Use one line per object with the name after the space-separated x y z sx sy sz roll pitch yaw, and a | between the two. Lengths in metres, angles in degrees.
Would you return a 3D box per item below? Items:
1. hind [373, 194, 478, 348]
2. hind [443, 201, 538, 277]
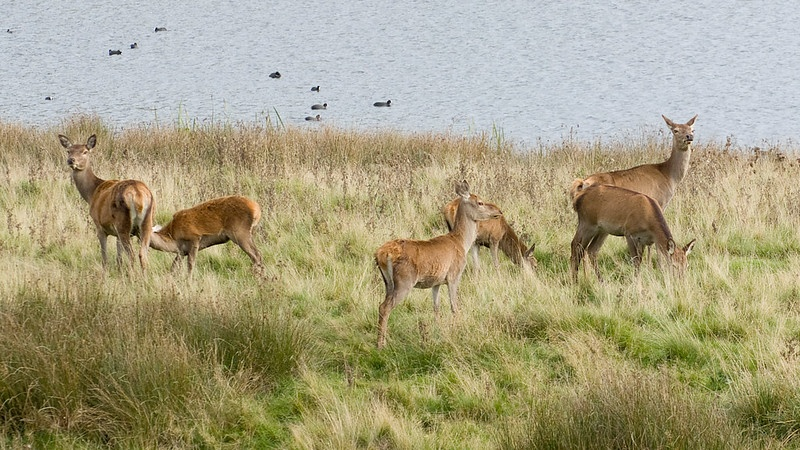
0.601 1.147 20.650 3.225 3.053 0.919 -6 3 -36 | hind
2.071 0.333 22.629 2.816 1.460 0.664 8 -1 -42 | hind
